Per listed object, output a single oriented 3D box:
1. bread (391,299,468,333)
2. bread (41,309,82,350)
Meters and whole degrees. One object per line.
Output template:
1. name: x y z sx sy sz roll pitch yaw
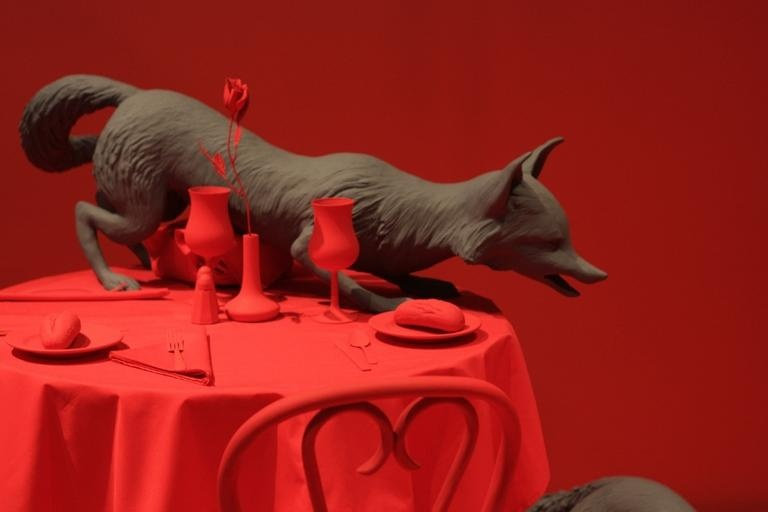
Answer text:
1. bread: 0.141 0.186 3.460 0.183 0.067 0.106 3 8 21
2. bread: -0.979 0.226 3.304 0.094 0.070 0.125 3 23 1
